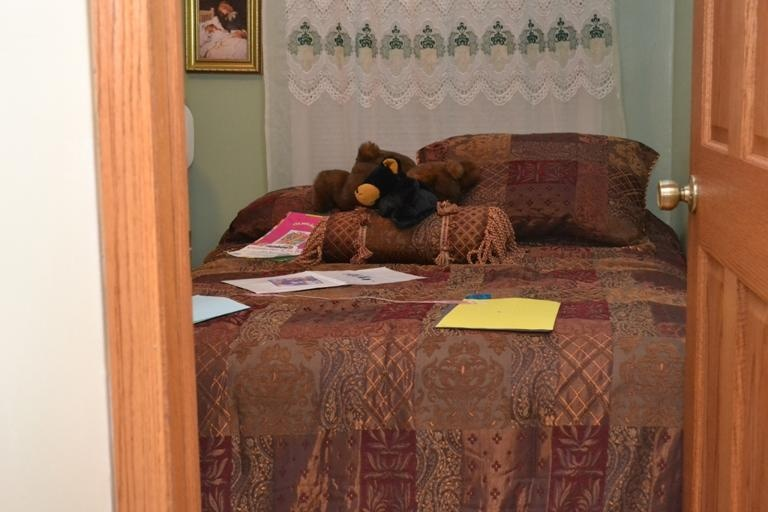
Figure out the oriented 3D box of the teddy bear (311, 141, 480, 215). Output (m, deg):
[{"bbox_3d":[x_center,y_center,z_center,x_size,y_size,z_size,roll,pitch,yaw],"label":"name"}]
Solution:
[{"bbox_3d":[0.056,-0.338,2.927,0.583,0.286,0.343,2,15,33],"label":"teddy bear"}]
